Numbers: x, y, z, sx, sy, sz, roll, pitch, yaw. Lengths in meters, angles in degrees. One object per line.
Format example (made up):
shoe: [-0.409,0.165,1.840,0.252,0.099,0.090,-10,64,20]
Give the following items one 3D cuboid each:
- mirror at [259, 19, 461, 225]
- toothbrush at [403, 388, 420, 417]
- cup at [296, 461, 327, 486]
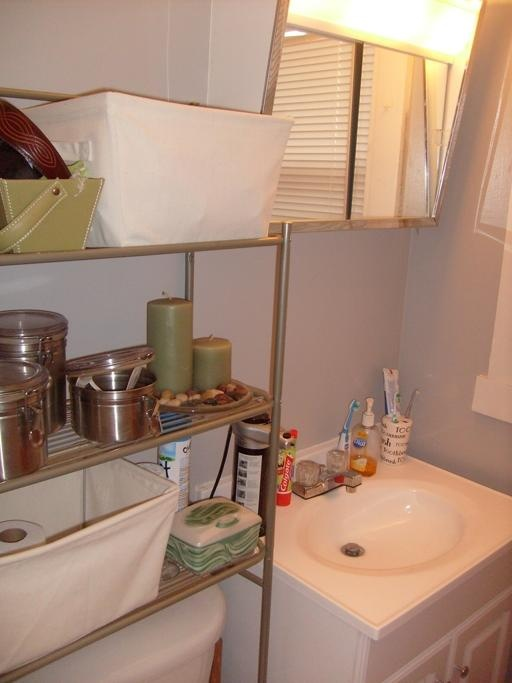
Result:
mirror: [0.246,-0.443,1.178,0.576,0.369,0.080,-9,17,-39]
toothbrush: [0.457,0.184,1.636,0.031,0.094,0.044,-11,17,-42]
cup: [0.130,0.324,1.355,0.048,0.042,0.064,2,0,26]
